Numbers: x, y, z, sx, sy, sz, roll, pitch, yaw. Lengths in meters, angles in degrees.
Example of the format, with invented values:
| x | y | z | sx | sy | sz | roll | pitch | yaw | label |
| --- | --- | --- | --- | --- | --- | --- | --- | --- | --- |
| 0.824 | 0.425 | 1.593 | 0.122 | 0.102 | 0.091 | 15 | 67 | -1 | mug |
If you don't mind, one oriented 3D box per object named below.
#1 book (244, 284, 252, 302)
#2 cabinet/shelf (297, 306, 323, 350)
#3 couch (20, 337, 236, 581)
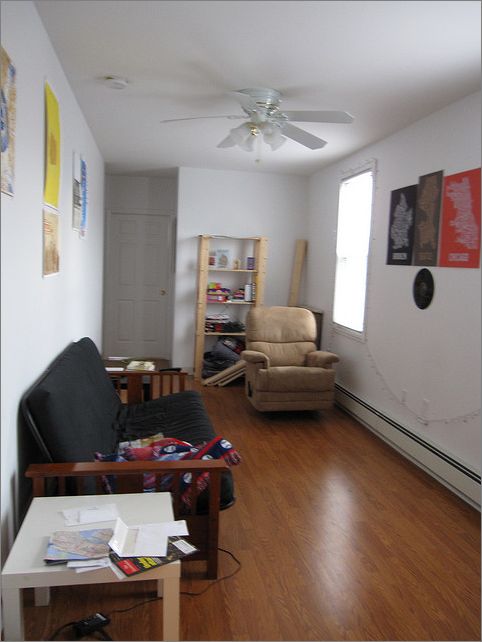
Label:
| x | y | z | sx | sy | sz | roll | pitch | yaw | label |
| --- | --- | --- | --- | --- | --- | --- | --- | --- | --- |
| 0.089 | -0.331 | 5.717 | 0.082 | 0.202 | 0.123 | 3 | 6 | -8 | book |
| 0.712 | 0.088 | 4.967 | 0.164 | 0.401 | 0.424 | -6 | 14 | -20 | cabinet/shelf |
| -0.573 | 0.471 | 2.533 | 0.854 | 0.612 | 1.487 | -2 | 7 | -12 | couch |
